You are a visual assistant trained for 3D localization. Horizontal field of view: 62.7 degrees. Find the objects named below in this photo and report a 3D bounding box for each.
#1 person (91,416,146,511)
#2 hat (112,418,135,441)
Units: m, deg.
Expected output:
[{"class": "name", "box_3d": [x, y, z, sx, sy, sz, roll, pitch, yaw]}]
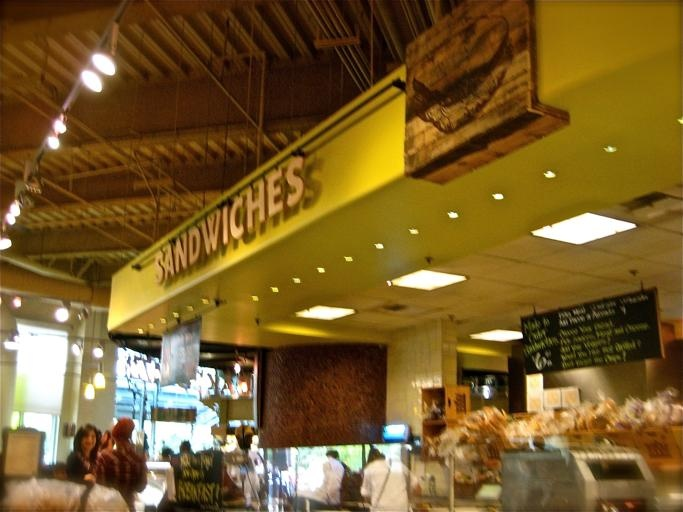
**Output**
[{"class": "person", "box_3d": [-1.210, 1.126, 3.108, 0.272, 0.470, 0.741, 7, -19, -17]}, {"class": "hat", "box_3d": [-1.320, 1.062, 3.420, 0.091, 0.134, 0.128, 15, -28, -15]}]
